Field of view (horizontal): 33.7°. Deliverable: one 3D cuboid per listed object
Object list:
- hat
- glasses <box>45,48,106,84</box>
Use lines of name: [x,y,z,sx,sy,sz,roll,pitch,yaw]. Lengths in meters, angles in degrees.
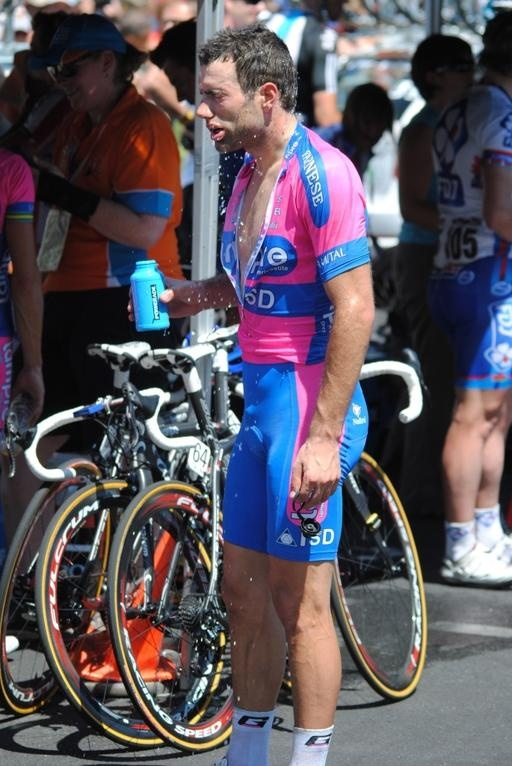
hat: [-0.587,-1.163,2.900,0.270,0.149,0.170,-3,8,-29]
glasses: [-0.606,-1.073,2.844,0.128,0.038,0.124,-31,13,-24]
